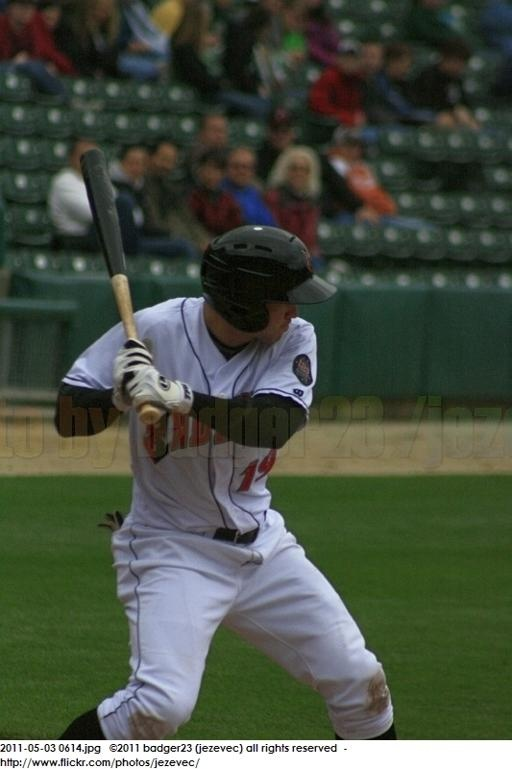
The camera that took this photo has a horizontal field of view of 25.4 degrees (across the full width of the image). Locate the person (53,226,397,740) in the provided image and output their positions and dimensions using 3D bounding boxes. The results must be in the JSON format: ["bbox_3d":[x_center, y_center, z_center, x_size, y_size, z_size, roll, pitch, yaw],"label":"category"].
[{"bbox_3d":[-0.069,0.245,2.643,0.778,1.215,0.626,0,11,-14],"label":"person"}]

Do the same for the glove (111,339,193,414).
[{"bbox_3d":[-0.230,-0.008,2.532,0.142,0.132,0.149,-4,12,-31],"label":"glove"}]

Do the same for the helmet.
[{"bbox_3d":[0.051,-0.256,2.699,0.334,0.212,0.215,-1,9,7],"label":"helmet"}]

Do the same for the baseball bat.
[{"bbox_3d":[-0.347,-0.300,2.882,0.161,0.097,1.107,-12,45,1],"label":"baseball bat"}]

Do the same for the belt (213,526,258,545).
[{"bbox_3d":[-0.047,0.352,2.679,0.074,0.024,0.048,9,-7,-6],"label":"belt"}]
